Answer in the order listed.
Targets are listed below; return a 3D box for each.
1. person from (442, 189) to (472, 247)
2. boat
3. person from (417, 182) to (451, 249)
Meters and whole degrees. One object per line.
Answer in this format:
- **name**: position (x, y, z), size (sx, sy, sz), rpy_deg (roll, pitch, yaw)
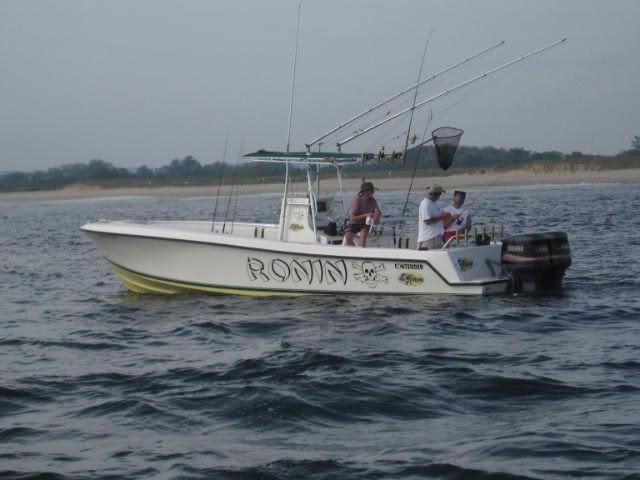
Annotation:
- **person**: position (2.159, -0.347, 10.817), size (0.583, 0.832, 0.550), rpy_deg (8, 17, 34)
- **boat**: position (-0.208, -0.720, 11.058), size (7.907, 2.776, 1.918), rpy_deg (2, 21, 6)
- **person**: position (1.785, -0.378, 10.670), size (0.524, 1.034, 0.653), rpy_deg (-2, 15, 8)
